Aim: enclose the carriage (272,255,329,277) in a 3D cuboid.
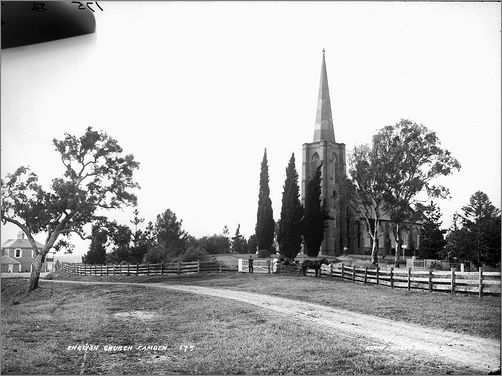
[{"bbox_3d":[3.812,6.332,41.747,3.955,1.290,2.679,-1,1,1],"label":"carriage"}]
